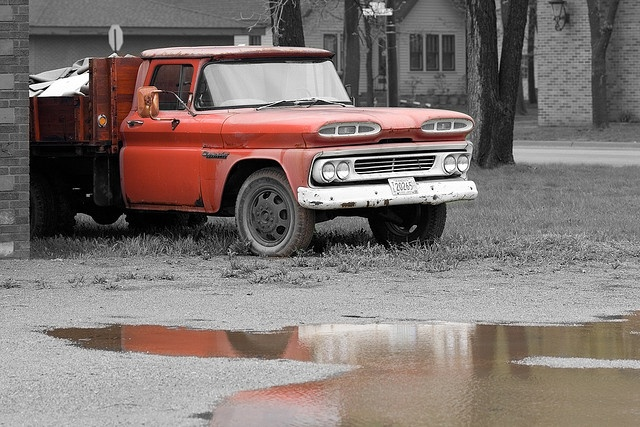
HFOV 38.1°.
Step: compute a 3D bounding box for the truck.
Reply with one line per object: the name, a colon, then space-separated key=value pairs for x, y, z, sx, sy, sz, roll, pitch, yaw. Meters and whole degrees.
truck: x=-1.776 y=-0.840 z=12.521 sx=6.034 sy=1.978 sz=2.765 roll=1 pitch=3 yaw=44
